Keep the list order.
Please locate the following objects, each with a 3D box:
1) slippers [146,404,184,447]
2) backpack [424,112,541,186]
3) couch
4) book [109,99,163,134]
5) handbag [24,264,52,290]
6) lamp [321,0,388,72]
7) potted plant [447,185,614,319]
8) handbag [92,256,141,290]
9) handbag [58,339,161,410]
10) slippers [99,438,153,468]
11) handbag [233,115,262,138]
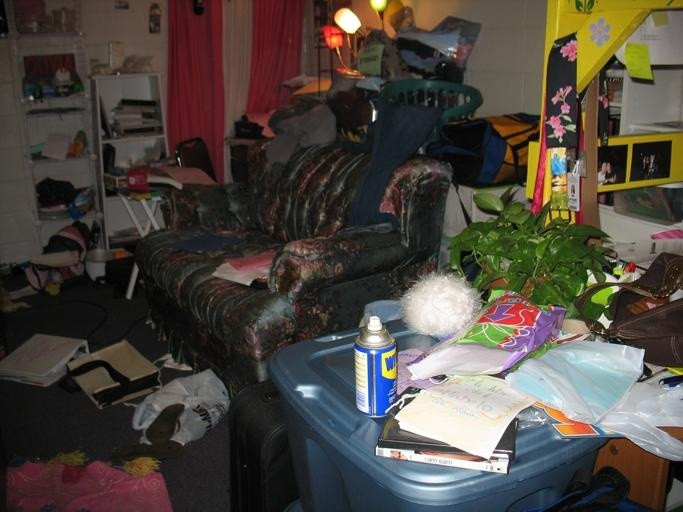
[{"bbox_3d":[-0.786,0.747,2.385,0.136,0.106,0.184,2,14,16],"label":"slippers"},{"bbox_3d":[0.726,-0.535,2.677,0.463,0.184,0.366,-10,27,-27],"label":"backpack"},{"bbox_3d":[-0.214,0.048,2.431,0.678,0.795,1.136,-7,23,-33],"label":"couch"},{"bbox_3d":[-1.640,-1.108,4.272,0.398,0.283,0.244,-7,14,-22],"label":"book"},{"bbox_3d":[-2.152,0.132,3.815,0.141,0.200,0.077,0,9,2],"label":"handbag"},{"bbox_3d":[0.090,-1.743,4.180,0.456,0.503,1.038,-2,13,-2],"label":"lamp"},{"bbox_3d":[0.657,-0.001,1.897,0.539,0.424,0.725,3,14,19],"label":"potted plant"},{"bbox_3d":[-1.573,0.122,3.741,0.248,0.287,0.222,4,11,-36],"label":"handbag"},{"bbox_3d":[-1.142,0.605,2.737,0.288,0.081,0.342,-16,33,-40],"label":"handbag"},{"bbox_3d":[-0.914,0.847,2.293,0.164,0.039,0.227,-13,17,-41],"label":"slippers"},{"bbox_3d":[-0.839,-1.114,4.645,0.160,0.205,0.359,-11,16,-36],"label":"handbag"}]
